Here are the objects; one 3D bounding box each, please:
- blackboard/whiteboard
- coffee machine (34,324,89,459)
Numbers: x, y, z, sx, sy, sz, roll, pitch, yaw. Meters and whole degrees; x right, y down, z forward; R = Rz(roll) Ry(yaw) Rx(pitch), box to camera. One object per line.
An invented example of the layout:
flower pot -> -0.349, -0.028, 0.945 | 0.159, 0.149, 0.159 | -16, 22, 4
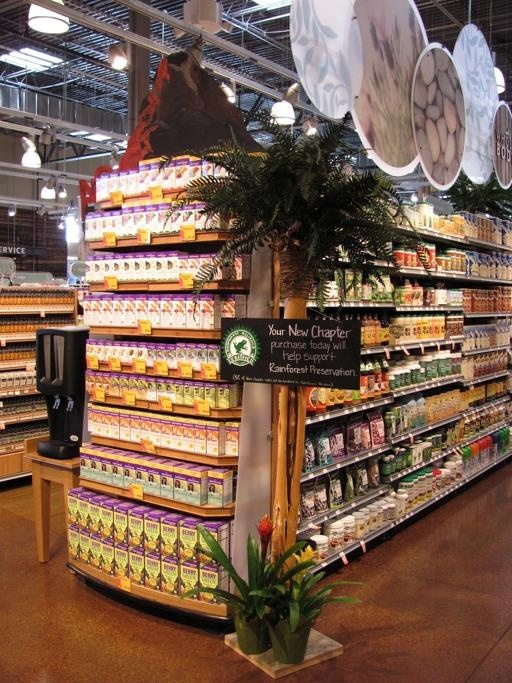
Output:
blackboard/whiteboard -> 0.093, 0.037, 1.903 | 0.525, 0.234, 0.002 | 3, 2, 30
coffee machine -> -1.274, 0.344, 3.586 | 0.326, 0.802, 0.277 | 1, 0, 33
